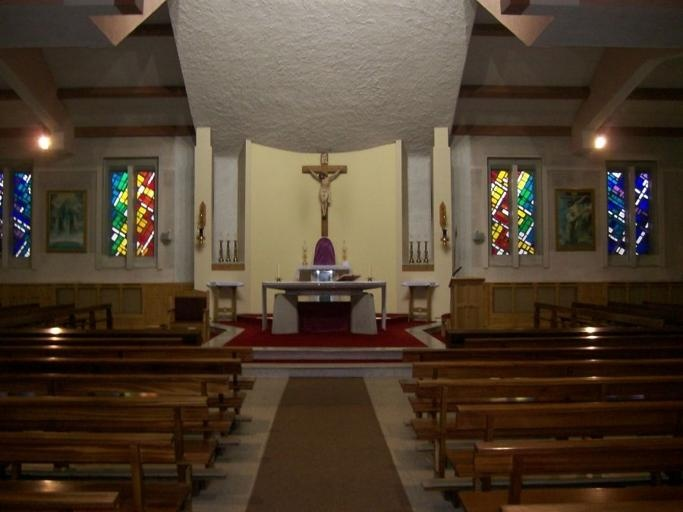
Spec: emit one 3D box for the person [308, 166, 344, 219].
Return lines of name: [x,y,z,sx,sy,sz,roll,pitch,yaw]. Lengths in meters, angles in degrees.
person: [-0.242,-1.019,10.473,0.489,0.832,0.658,1,10,0]

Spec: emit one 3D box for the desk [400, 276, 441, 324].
desk: [1.346,0.717,10.946,0.585,0.650,0.630,-1,-9,7]

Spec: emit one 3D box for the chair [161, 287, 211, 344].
chair: [-2.015,0.809,8.474,0.489,0.781,0.396,0,-9,-9]

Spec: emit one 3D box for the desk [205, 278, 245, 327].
desk: [-1.991,0.780,11.156,0.769,0.679,0.853,0,1,36]

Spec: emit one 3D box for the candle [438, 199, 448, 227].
candle: [1.736,-0.720,11.013,0.142,0.430,0.120,1,9,5]

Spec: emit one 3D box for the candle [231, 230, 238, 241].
candle: [-1.988,-0.399,12.036,0.166,0.188,0.093,5,10,22]

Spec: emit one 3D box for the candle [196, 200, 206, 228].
candle: [-2.386,-0.727,11.111,0.136,0.423,0.210,1,10,2]
